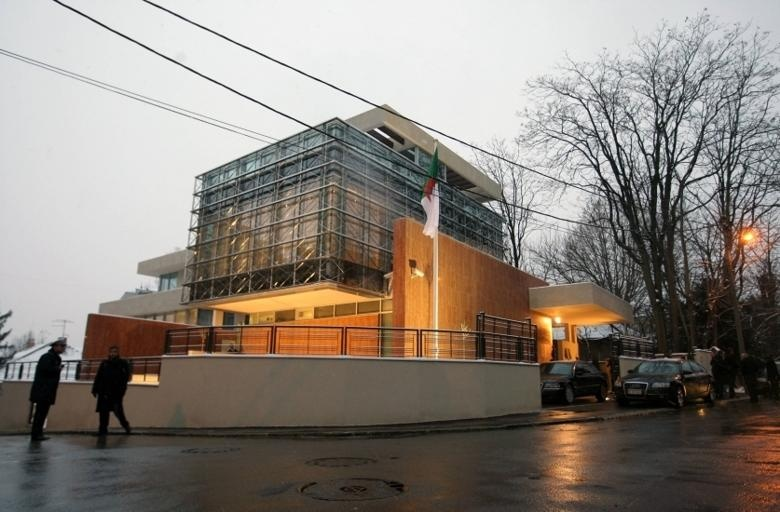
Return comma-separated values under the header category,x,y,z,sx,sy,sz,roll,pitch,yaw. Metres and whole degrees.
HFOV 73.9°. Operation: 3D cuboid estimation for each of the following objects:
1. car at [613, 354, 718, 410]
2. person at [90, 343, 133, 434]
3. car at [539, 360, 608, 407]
category,x,y,z,sx,sy,sz,roll,pitch,yaw
car,12.083,5.469,22.499,5.609,1.985,2.186,10,-19,-34
person,-8.013,3.863,14.945,0.836,2.430,1.044,3,-16,-16
car,8.261,5.755,23.934,4.226,1.933,1.415,13,-21,-41
